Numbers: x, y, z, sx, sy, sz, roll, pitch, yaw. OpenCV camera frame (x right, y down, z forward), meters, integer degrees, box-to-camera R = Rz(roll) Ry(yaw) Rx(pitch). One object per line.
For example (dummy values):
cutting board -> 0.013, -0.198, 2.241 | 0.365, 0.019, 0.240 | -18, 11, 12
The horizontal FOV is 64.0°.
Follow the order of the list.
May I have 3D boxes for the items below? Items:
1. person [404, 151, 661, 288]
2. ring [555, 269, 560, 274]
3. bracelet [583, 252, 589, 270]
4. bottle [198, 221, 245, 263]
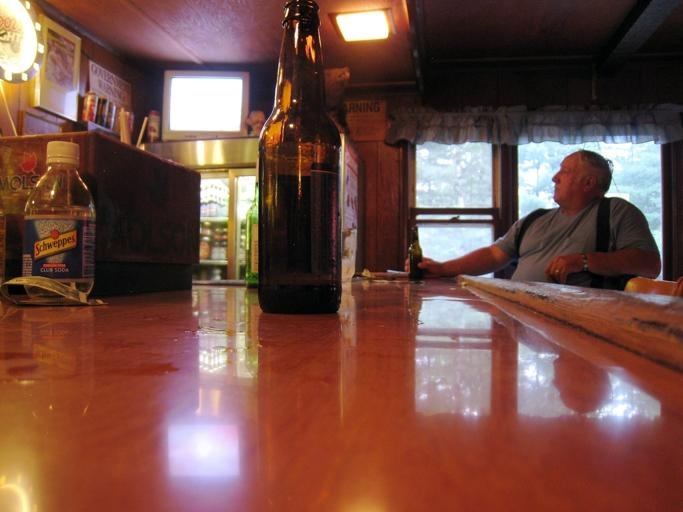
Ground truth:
person -> 0.965, -0.199, 2.531 | 0.705, 0.639, 0.915 | 0, 0, -33
ring -> 0.840, 0.062, 2.129 | 0.005, 0.019, 0.028 | 0, 0, -8
bracelet -> 0.963, 0.027, 2.154 | 0.017, 0.064, 0.046 | 0, -1, 32
bottle -> -0.820, -0.086, 3.777 | 0.273, 0.264, 0.138 | 2, 6, 9
